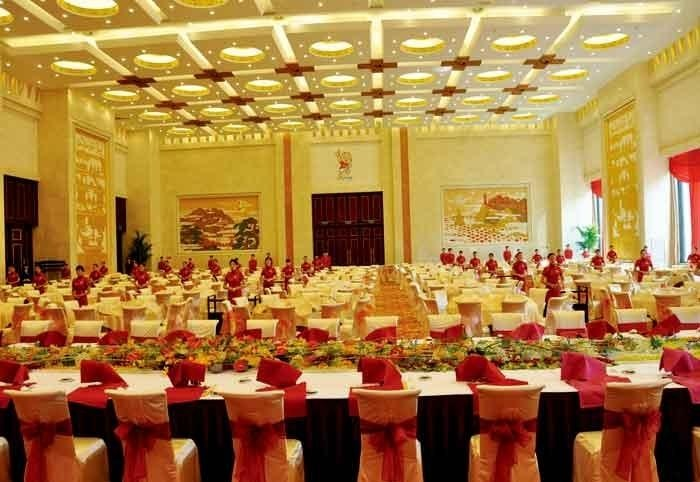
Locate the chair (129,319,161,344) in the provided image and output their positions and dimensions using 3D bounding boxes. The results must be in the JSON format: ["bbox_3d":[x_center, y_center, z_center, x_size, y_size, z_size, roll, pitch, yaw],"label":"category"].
[{"bbox_3d":[-2.730,1.223,7.143,0.402,0.293,0.152,0,-14,-5],"label":"chair"}]

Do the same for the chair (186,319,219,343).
[{"bbox_3d":[-1.988,1.180,7.144,0.454,0.301,0.246,0,-5,-3],"label":"chair"}]

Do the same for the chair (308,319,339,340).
[{"bbox_3d":[-0.332,1.136,7.251,0.362,0.244,0.256,2,2,5],"label":"chair"}]

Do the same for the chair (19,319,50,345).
[{"bbox_3d":[-4.227,1.243,7.202,0.445,0.402,0.253,0,-8,-16],"label":"chair"}]

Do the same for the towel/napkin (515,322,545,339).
[{"bbox_3d":[2.031,1.035,6.135,0.247,0.094,0.191,-2,-2,5],"label":"towel/napkin"}]

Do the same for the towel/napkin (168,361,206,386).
[{"bbox_3d":[-1.547,1.262,5.103,0.297,0.291,0.146,13,8,5],"label":"towel/napkin"}]

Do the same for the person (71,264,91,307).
[{"bbox_3d":[-6.069,1.022,12.134,0.363,0.846,1.249,3,-4,-27],"label":"person"}]

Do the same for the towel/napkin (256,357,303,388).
[{"bbox_3d":[-0.685,1.247,5.119,0.440,0.160,0.347,11,3,-7],"label":"towel/napkin"}]

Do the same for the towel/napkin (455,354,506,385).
[{"bbox_3d":[1.190,1.224,5.007,0.318,0.125,0.318,11,-6,-38],"label":"towel/napkin"}]

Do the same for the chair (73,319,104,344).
[{"bbox_3d":[-3.604,1.240,7.361,0.404,0.352,0.327,1,1,-3],"label":"chair"}]

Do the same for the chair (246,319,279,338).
[{"bbox_3d":[-1.181,1.169,7.236,0.434,0.401,0.232,1,3,2],"label":"chair"}]

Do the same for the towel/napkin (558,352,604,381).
[{"bbox_3d":[2.173,1.204,5.069,0.291,0.132,0.290,0,-4,1],"label":"towel/napkin"}]

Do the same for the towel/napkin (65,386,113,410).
[{"bbox_3d":[-2.412,1.450,4.906,0.403,0.130,0.401,-1,-4,4],"label":"towel/napkin"}]

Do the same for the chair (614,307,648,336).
[{"bbox_3d":[3.801,1.105,7.278,0.368,0.271,0.373,0,-2,7],"label":"chair"}]

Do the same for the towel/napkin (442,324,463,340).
[{"bbox_3d":[1.190,1.079,6.197,0.234,0.142,0.499,0,-4,9],"label":"towel/napkin"}]

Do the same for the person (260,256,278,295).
[{"bbox_3d":[-2.292,1.174,15.117,0.417,1.254,0.365,-2,11,-22],"label":"person"}]

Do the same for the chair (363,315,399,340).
[{"bbox_3d":[0.411,1.107,6.974,0.344,0.304,0.302,1,1,0],"label":"chair"}]

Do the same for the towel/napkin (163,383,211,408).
[{"bbox_3d":[-1.515,1.448,4.968,0.278,0.066,0.271,0,-1,-9],"label":"towel/napkin"}]

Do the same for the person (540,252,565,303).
[{"bbox_3d":[4.288,0.802,11.419,0.423,1.055,1.727,0,-4,20],"label":"person"}]

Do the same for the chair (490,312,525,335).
[{"bbox_3d":[2.144,1.164,7.474,0.317,0.233,0.315,0,-7,0],"label":"chair"}]

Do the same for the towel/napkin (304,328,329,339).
[{"bbox_3d":[-0.399,1.144,6.498,0.240,0.136,0.424,3,-5,-32],"label":"towel/napkin"}]

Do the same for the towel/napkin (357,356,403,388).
[{"bbox_3d":[0.270,1.193,5.051,0.520,0.166,0.353,15,2,-23],"label":"towel/napkin"}]

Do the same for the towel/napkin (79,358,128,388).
[{"bbox_3d":[-2.395,1.303,5.213,0.369,0.133,0.284,14,-8,-1],"label":"towel/napkin"}]

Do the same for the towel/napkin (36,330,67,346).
[{"bbox_3d":[-3.679,1.217,6.616,0.293,0.212,0.238,-1,1,19],"label":"towel/napkin"}]

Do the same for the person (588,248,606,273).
[{"bbox_3d":[8.457,0.705,18.442,0.526,0.945,0.349,-6,-25,24],"label":"person"}]

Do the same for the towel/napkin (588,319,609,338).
[{"bbox_3d":[2.936,1.039,6.330,0.230,0.217,0.189,-4,1,-1],"label":"towel/napkin"}]
